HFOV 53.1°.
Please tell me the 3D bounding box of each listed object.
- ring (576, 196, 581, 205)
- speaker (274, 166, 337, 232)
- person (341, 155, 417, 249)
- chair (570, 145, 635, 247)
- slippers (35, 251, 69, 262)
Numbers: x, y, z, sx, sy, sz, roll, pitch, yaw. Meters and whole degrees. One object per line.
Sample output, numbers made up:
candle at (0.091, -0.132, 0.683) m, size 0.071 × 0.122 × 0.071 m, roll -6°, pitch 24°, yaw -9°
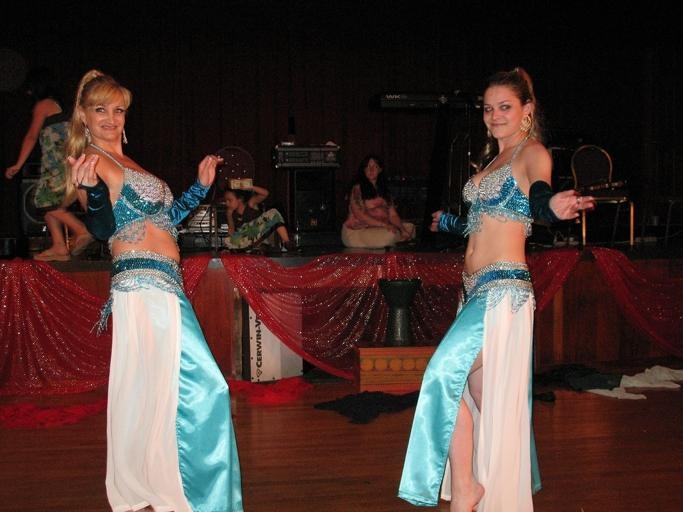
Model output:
ring at (1.086, -0.247, 3.120) m, size 0.033 × 0.037 × 0.011 m, roll 4°, pitch -16°, yaw -17°
speaker at (-0.324, -0.628, 7.678) m, size 0.575 × 0.961 × 0.642 m, roll -1°, pitch 6°, yaw -2°
person at (0.367, -0.558, 6.862) m, size 0.671 × 0.963 × 0.779 m, roll 1°, pitch 4°, yaw 4°
chair at (2.766, -0.674, 7.433) m, size 0.521 × 1.150 × 0.638 m, roll -4°, pitch -2°, yaw 18°
slippers at (-2.336, 0.018, 5.546) m, size 0.255 × 0.106 × 0.108 m, roll 2°, pitch -3°, yaw -11°
